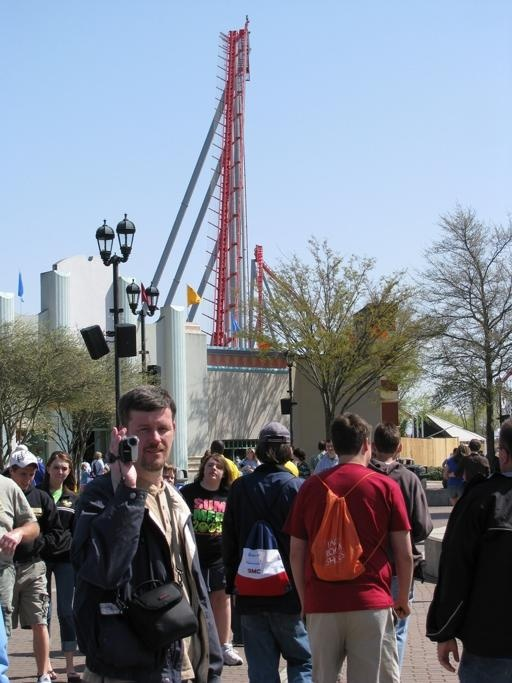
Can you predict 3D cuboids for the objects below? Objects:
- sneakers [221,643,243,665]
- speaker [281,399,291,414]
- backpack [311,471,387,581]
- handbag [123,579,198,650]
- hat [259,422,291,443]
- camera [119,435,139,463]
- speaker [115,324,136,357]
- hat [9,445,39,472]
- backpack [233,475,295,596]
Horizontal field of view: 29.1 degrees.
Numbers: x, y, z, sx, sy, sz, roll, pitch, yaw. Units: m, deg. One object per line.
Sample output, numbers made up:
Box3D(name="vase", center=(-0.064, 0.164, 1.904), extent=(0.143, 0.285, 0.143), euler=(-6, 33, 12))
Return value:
Box3D(name="sneakers", center=(-0.174, 2.343, 7.417), extent=(0.160, 0.145, 0.308), euler=(1, -2, -2))
Box3D(name="speaker", center=(0.858, 1.804, 27.722), extent=(0.270, 0.273, 0.375), euler=(0, -40, 9))
Box3D(name="backpack", center=(0.448, 0.874, 4.616), extent=(0.423, 0.556, 0.257), euler=(-6, -18, 24))
Box3D(name="handbag", center=(-0.325, 0.950, 3.419), extent=(0.271, 0.210, 0.100), euler=(2, -3, -38))
Box3D(name="hat", center=(0.111, 0.545, 5.918), extent=(0.186, 0.112, 0.288), euler=(1, -2, 1))
Box3D(name="camera", center=(-0.439, 0.373, 3.405), extent=(0.074, 0.097, 0.082), euler=(1, -6, -17))
Box3D(name="speaker", center=(-1.918, -0.035, 14.522), extent=(0.297, 0.506, 1.089), euler=(1, -2, -9))
Box3D(name="hat", center=(-1.654, 0.825, 7.019), extent=(0.157, 0.113, 0.211), euler=(14, -21, -26))
Box3D(name="backpack", center=(0.039, 1.224, 5.527), extent=(0.264, 0.411, 0.281), euler=(1, -2, -14))
